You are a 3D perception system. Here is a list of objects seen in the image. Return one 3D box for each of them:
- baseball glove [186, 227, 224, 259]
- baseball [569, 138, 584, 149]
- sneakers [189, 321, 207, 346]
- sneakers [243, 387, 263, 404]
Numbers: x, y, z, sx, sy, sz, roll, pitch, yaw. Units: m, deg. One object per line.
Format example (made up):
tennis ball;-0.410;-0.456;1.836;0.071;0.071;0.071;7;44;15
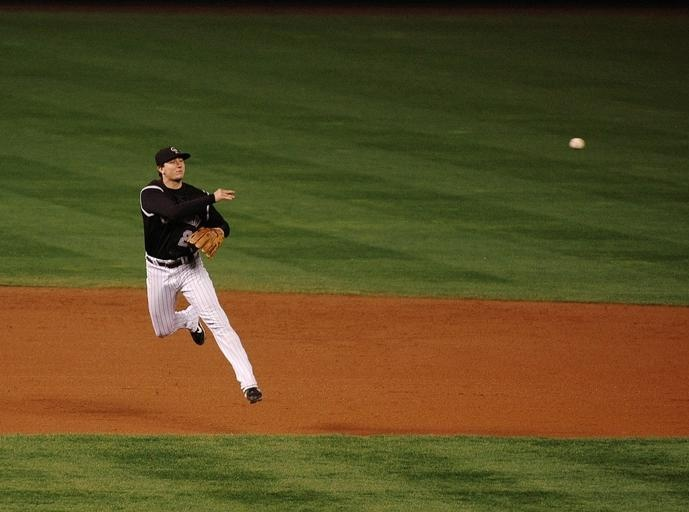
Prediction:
baseball glove;-1.785;-0.160;24.644;0.402;0.193;0.431;36;63;7
baseball;3.588;-1.781;29.408;0.243;0.177;0.274;5;10;6
sneakers;-1.965;1.035;25.549;0.155;0.384;0.147;-10;47;3
sneakers;-1.168;1.815;24.579;0.185;0.272;0.180;-8;49;-4
